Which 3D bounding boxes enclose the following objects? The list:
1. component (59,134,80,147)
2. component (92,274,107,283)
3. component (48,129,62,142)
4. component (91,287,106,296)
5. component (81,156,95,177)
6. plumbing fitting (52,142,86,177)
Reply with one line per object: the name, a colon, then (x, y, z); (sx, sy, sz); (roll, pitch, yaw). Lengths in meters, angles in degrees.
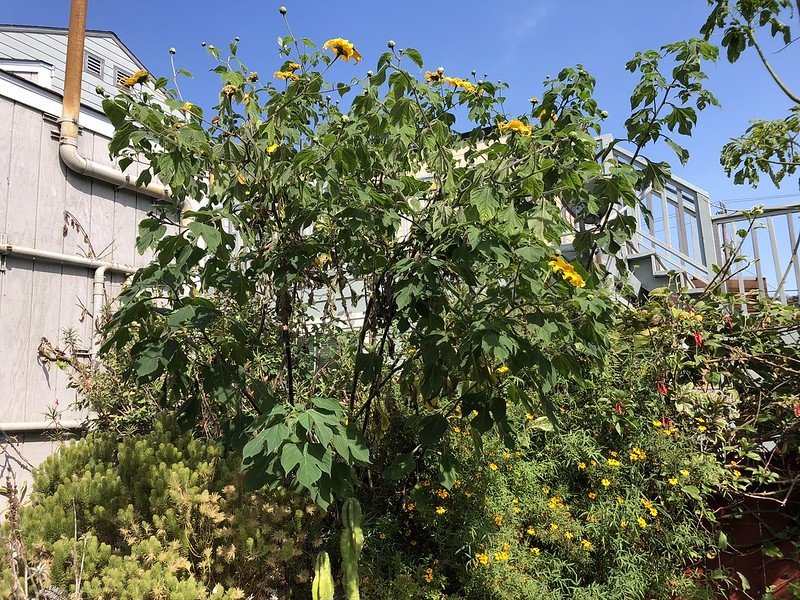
component: (-2.834, -1.356, 4.836); (0.084, 0.054, 0.086); (4, -6, -1)
component: (-2.622, -0.187, 4.932); (0.076, 0.080, 0.079); (0, -14, -2)
component: (-2.948, -1.403, 4.840); (0.079, 0.089, 0.022); (4, -4, -41)
component: (-2.619, -0.068, 4.918); (0.076, 0.085, 0.079); (1, -1, 18)
component: (-2.701, -1.153, 4.913); (0.122, 0.164, 0.112); (12, 0, -24)
plumbing fitting: (-2.813, -1.197, 4.865); (0.184, 0.159, 0.257); (-30, -32, 10)
